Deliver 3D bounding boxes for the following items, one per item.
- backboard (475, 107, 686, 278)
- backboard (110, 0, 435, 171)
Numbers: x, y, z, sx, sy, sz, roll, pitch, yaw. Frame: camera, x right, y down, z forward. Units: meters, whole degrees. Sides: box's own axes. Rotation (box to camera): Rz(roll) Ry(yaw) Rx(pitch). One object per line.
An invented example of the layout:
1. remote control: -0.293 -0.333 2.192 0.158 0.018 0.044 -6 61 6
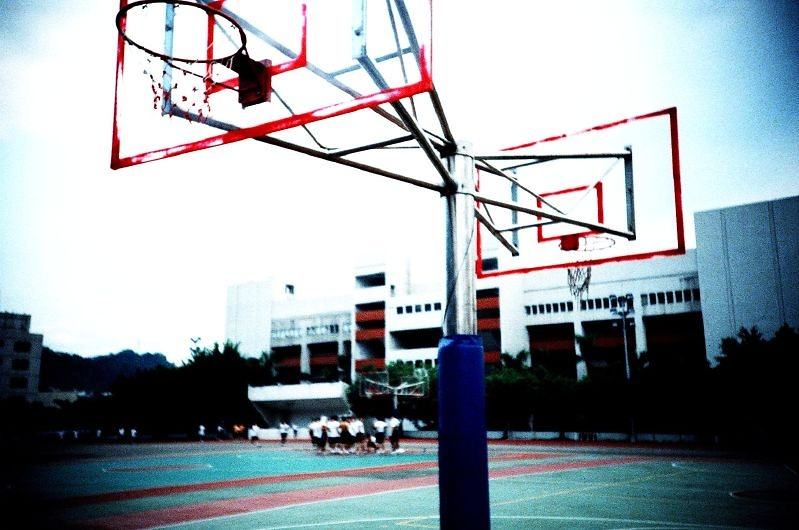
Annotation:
1. backboard: 3.155 -1.592 16.718 2.594 3.318 4.822 5 -7 -41
2. backboard: -2.140 -3.076 11.605 4.519 2.590 0.135 -4 -9 15
